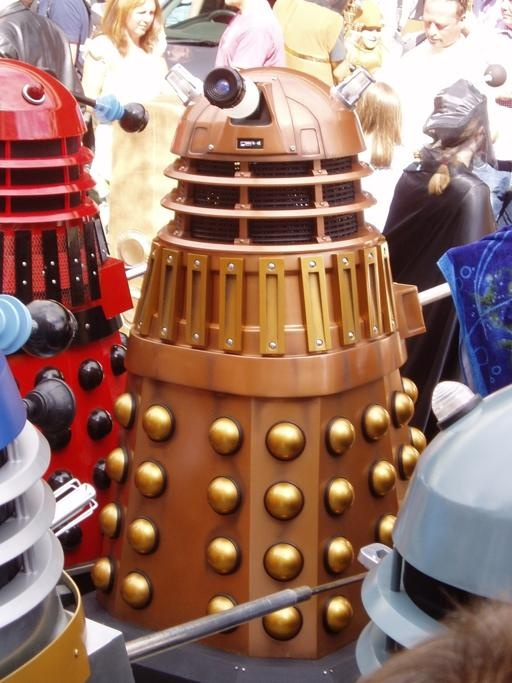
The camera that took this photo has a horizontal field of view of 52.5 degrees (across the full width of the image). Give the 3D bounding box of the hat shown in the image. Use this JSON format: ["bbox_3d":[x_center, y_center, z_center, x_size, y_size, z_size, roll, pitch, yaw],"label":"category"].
[{"bbox_3d":[1.304,-1.437,3.297,0.385,0.289,0.306,-17,31,6],"label":"hat"}]
